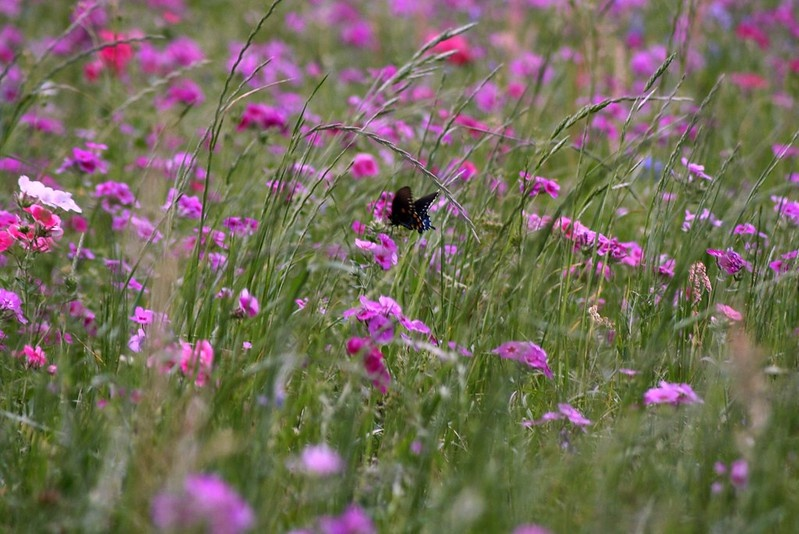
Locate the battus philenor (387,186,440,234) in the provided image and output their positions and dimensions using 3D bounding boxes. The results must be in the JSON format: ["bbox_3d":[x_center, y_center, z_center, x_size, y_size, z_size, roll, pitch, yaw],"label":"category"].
[{"bbox_3d":[0.053,-0.224,4.077,0.167,0.159,0.186,-14,-4,4],"label":"battus philenor"}]
